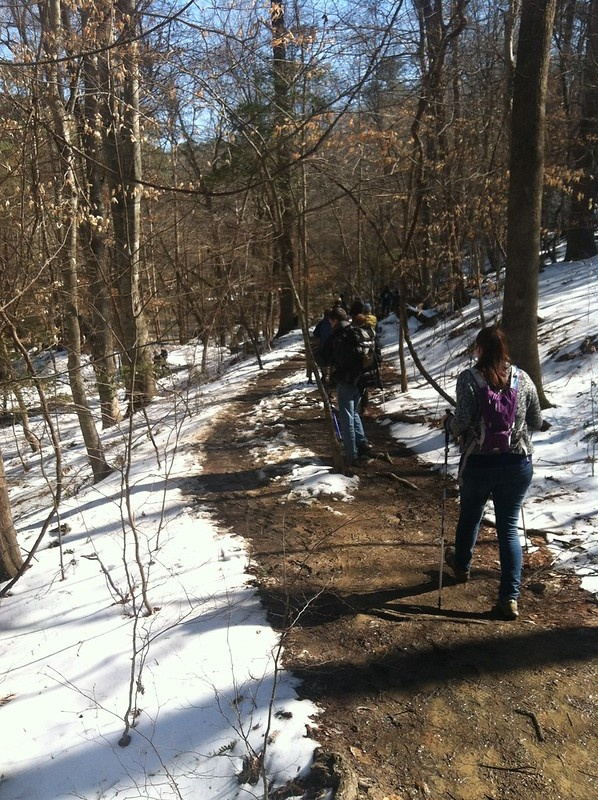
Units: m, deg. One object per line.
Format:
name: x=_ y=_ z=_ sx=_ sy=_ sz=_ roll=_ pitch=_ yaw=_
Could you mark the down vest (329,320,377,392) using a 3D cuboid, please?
down vest: x=0.568 y=-0.461 z=8.105 sx=0.507 sy=0.669 sz=0.427 roll=-7 pitch=12 yaw=4
